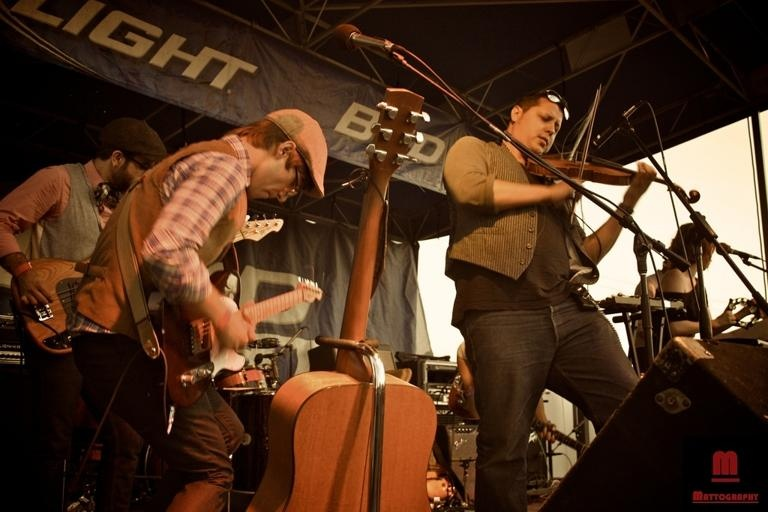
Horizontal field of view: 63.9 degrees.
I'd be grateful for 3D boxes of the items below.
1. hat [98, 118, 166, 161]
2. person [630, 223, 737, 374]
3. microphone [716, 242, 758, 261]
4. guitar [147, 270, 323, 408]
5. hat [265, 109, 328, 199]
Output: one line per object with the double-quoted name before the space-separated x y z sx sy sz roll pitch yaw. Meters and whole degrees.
"hat" -1.923 -0.886 4.728 0.420 0.253 0.317 5 6 5
"person" 2.392 0.346 4.916 0.695 1.262 0.653 7 -50 20
"microphone" 3.204 -0.042 5.578 0.270 0.106 0.074 23 -57 -1
"guitar" -0.823 0.437 3.346 0.580 0.807 0.620 0 -19 28
"hat" -0.472 -0.646 3.636 0.497 0.291 0.353 46 -7 -14
